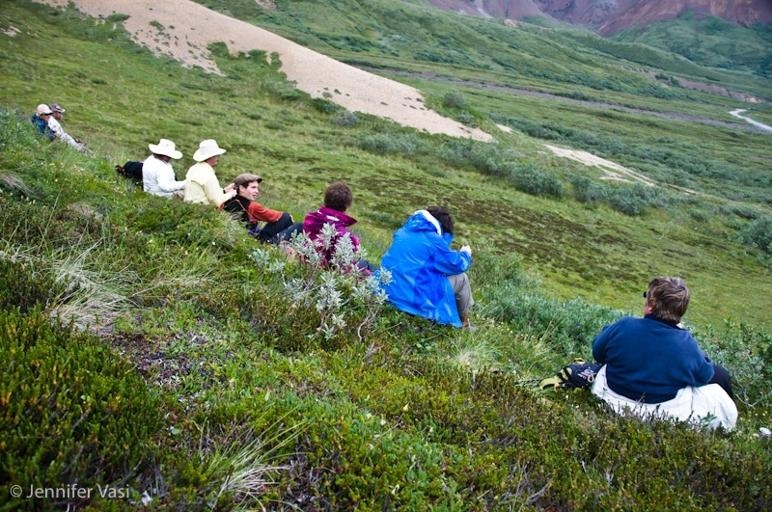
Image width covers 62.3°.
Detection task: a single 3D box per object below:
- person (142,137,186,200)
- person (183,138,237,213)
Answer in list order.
[{"bbox_3d":[-5.226,-2.021,15.080,0.961,1.341,1.125,17,18,-23],"label":"person"},{"bbox_3d":[-3.930,-1.818,14.413,1.321,1.343,0.999,37,21,35],"label":"person"}]
